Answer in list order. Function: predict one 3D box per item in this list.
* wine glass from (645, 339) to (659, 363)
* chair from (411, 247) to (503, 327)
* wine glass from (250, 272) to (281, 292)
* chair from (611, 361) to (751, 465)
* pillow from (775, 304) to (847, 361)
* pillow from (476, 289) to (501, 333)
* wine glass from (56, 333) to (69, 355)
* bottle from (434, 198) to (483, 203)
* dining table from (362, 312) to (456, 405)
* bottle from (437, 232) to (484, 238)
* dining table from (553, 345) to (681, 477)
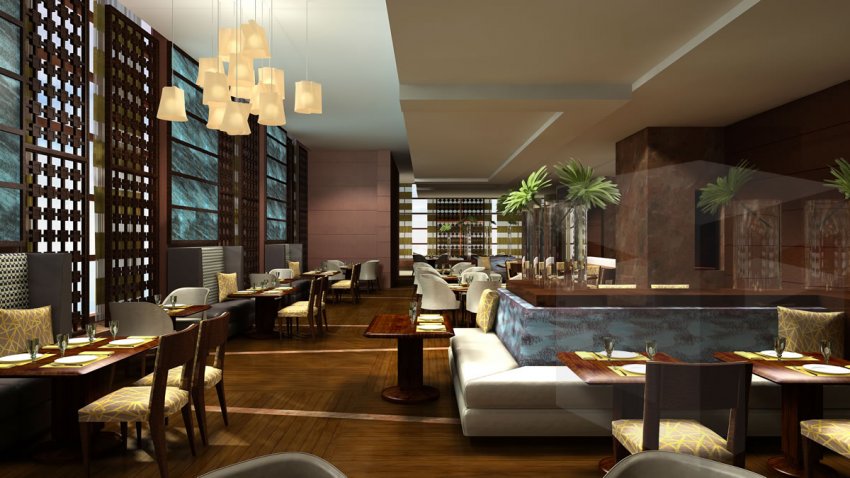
[{"bbox_3d":[2.226,1.101,5.012,0.086,0.221,0.325,-1,-2,24],"label":"wine glass"},{"bbox_3d":[0.601,0.990,9.001,1.469,1.010,1.075,0,-5,-3],"label":"chair"},{"bbox_3d":[-2.950,0.812,9.474,0.406,0.265,0.317,1,0,-23],"label":"wine glass"},{"bbox_3d":[2.295,1.573,4.591,1.139,0.989,0.487,-1,-2,19],"label":"chair"},{"bbox_3d":[4.081,1.013,5.385,0.621,0.535,0.220,2,-1,20],"label":"pillow"},{"bbox_3d":[0.894,1.030,7.139,0.251,0.612,0.678,7,2,-4],"label":"pillow"},{"bbox_3d":[-3.768,1.096,5.307,0.085,0.207,0.249,1,-2,-35],"label":"wine glass"},{"bbox_3d":[1.252,-1.305,17.921,1.854,0.200,0.268,0,-2,-2],"label":"bottle"},{"bbox_3d":[-0.177,1.474,6.479,1.188,0.777,1.078,0,-5,-1],"label":"dining table"},{"bbox_3d":[1.270,-0.112,18.011,1.670,0.243,0.089,-1,-1,5],"label":"bottle"},{"bbox_3d":[1.796,1.676,5.264,1.242,1.025,1.432,1,0,0],"label":"dining table"}]
